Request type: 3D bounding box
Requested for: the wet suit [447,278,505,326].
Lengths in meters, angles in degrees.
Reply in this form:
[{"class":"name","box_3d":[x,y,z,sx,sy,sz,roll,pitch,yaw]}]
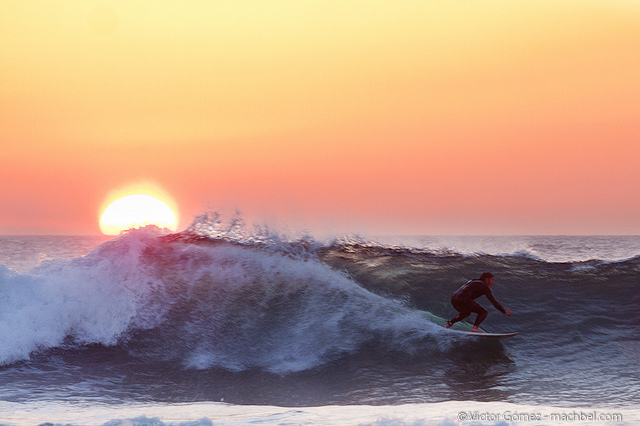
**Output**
[{"class":"wet suit","box_3d":[4.075,2.345,15.941,1.380,1.243,0.432,-7,-14,28]}]
